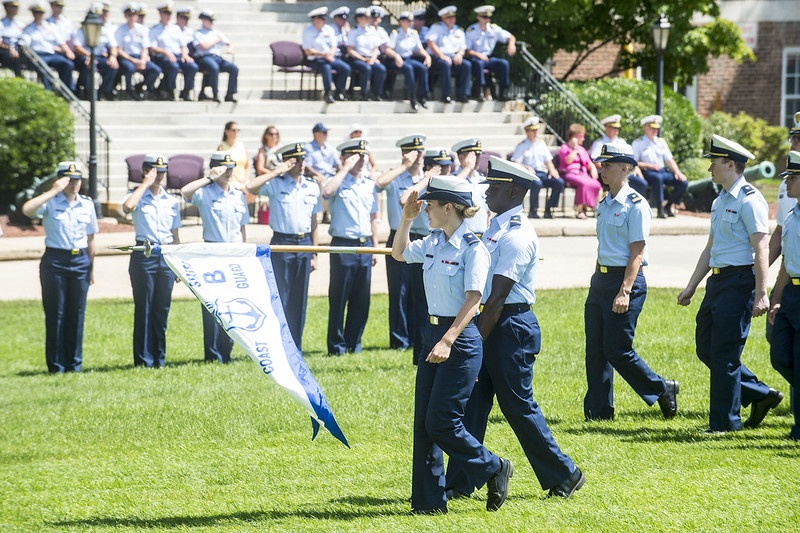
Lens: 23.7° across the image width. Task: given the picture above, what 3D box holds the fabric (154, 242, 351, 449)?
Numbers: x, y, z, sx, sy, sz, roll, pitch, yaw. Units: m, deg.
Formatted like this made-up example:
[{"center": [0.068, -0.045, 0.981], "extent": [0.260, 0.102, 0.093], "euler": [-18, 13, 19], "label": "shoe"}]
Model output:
[{"center": [-2.554, 1.096, 31.727], "extent": [3.186, 3.450, 0.363], "euler": [5, 30, -3], "label": "fabric"}]

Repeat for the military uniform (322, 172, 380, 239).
[{"center": [-0.940, -1.101, 35.970], "extent": [1.239, 1.356, 0.693], "euler": [4, -10, -30], "label": "military uniform"}]

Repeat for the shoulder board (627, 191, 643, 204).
[{"center": [3.949, -1.136, 32.692], "extent": [0.201, 0.201, 0.072], "euler": [-26, -15, -3], "label": "shoulder board"}]

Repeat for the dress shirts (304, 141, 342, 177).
[{"center": [-1.746, -2.227, 40.488], "extent": [1.065, 0.826, 0.537], "euler": [-2, -8, -43], "label": "dress shirts"}]

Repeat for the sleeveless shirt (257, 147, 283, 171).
[{"center": [-2.733, -2.182, 39.640], "extent": [0.649, 0.641, 0.377], "euler": [0, -11, -13], "label": "sleeveless shirt"}]

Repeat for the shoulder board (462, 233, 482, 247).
[{"center": [1.119, -0.418, 30.992], "extent": [0.298, 0.201, 0.159], "euler": [-3, 10, -16], "label": "shoulder board"}]

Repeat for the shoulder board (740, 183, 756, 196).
[{"center": [5.849, -1.262, 32.534], "extent": [0.198, 0.199, 0.061], "euler": [-35, -22, -17], "label": "shoulder board"}]

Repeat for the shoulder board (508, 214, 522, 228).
[{"center": [1.847, -0.699, 31.309], "extent": [0.195, 0.180, 0.094], "euler": [-1, 9, -2], "label": "shoulder board"}]

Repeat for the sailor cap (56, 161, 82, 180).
[{"center": [-6.160, -1.724, 35.187], "extent": [0.376, 0.279, 0.502], "euler": [-2, 5, -32], "label": "sailor cap"}]

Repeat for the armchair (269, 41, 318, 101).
[{"center": [-2.633, -4.721, 46.683], "extent": [1.403, 1.281, 1.383], "euler": [-5, 10, -34], "label": "armchair"}]
